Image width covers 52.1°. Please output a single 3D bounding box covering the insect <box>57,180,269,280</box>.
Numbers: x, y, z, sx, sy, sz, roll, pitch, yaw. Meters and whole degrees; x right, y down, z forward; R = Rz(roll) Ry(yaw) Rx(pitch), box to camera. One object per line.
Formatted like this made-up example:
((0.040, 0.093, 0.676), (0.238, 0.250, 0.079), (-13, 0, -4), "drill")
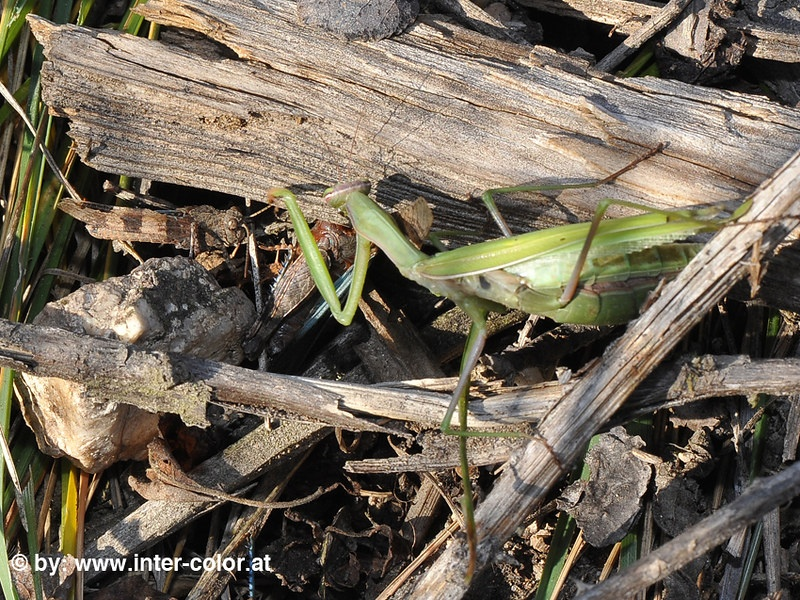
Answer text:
((-0.821, -0.263, 2.848), (0.486, 0.145, 0.342), (10, 14, -2), "insect")
